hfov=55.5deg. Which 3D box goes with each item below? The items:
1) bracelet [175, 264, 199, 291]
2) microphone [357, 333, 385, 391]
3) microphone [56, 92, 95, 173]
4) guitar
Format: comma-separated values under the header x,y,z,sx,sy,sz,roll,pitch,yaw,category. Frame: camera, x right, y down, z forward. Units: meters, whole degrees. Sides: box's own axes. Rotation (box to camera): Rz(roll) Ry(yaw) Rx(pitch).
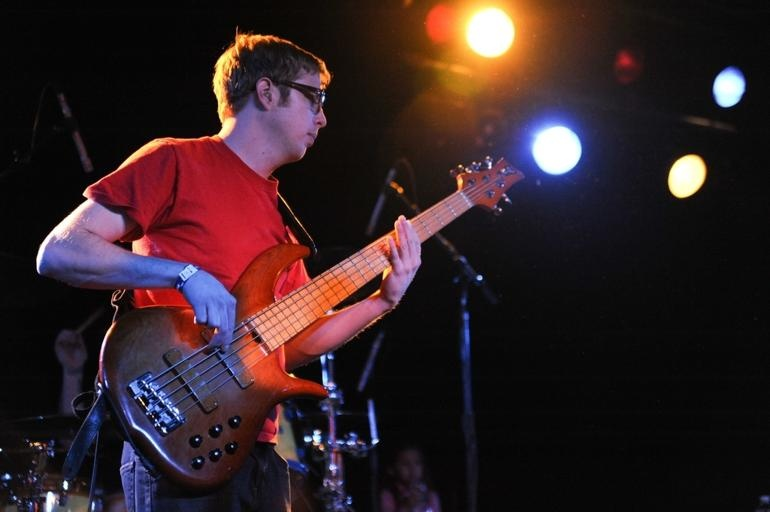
x,y,z,sx,sy,sz,roll,pitch,yaw,category
-1.161,0.118,4.281,0.102,0.144,0.039,36,-18,5,bracelet
-0.143,1.048,7.206,0.089,0.090,0.937,32,-51,17,microphone
-2.597,-1.010,6.105,0.116,0.849,0.116,-11,12,38,microphone
-0.420,0.237,4.461,2.746,0.980,0.327,-38,9,-31,guitar
